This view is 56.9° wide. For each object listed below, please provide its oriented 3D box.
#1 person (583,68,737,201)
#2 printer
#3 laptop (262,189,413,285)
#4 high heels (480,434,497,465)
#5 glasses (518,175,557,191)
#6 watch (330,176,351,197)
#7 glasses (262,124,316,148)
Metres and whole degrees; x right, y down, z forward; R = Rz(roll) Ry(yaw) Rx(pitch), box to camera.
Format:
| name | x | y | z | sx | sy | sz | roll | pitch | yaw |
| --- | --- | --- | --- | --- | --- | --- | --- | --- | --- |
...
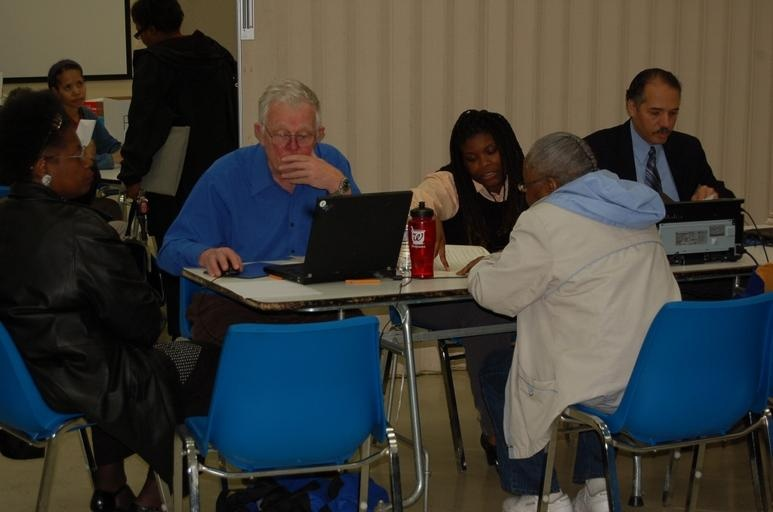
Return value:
| name | x | y | z | sx | sy | sz | roll | pitch | yaw |
| --- | --- | --- | --- | --- | --- | --- | --- | --- | --- |
| person | 1.650 | -0.794 | 4.394 | 0.820 | 0.791 | 0.520 | -5 | 15 | -16 |
| printer | 1.481 | -0.121 | 3.386 | 0.388 | 0.331 | 0.317 | -3 | 11 | -11 |
| laptop | -0.118 | -0.067 | 2.932 | 0.404 | 0.352 | 0.409 | -3 | 5 | -32 |
| high heels | 0.559 | 1.055 | 3.847 | 0.052 | 0.184 | 0.067 | -12 | -1 | -36 |
| glasses | 0.658 | -0.318 | 3.081 | 0.128 | 0.048 | 0.140 | -5 | 13 | -26 |
| watch | -0.212 | -0.316 | 3.227 | 0.091 | 0.112 | 0.062 | -21 | -40 | 39 |
| glasses | -0.449 | -0.557 | 3.329 | 0.231 | 0.089 | 0.084 | 0 | 5 | -6 |
